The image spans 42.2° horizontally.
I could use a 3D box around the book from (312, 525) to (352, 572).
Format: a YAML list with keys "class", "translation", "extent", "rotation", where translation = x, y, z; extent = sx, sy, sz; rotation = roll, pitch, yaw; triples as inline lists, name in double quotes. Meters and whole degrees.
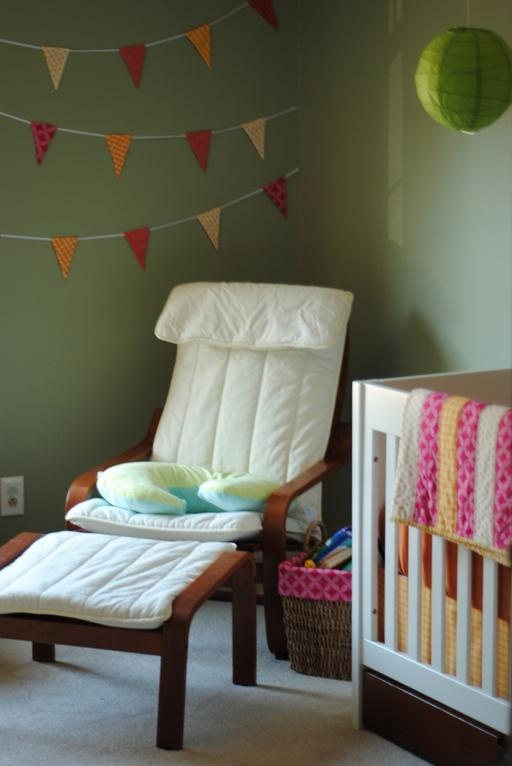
- class: "book"
  translation: [0.206, 0.440, 1.765]
  extent: [0.044, 0.066, 0.119]
  rotation: [42, 35, 13]

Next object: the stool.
- class: "stool"
  translation: [-0.257, 0.542, 1.410]
  extent: [0.439, 0.269, 0.383]
  rotation: [3, 9, 17]

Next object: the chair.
- class: "chair"
  translation: [-0.106, 0.228, 1.994]
  extent: [0.715, 0.976, 0.866]
  rotation: [2, 7, 20]
